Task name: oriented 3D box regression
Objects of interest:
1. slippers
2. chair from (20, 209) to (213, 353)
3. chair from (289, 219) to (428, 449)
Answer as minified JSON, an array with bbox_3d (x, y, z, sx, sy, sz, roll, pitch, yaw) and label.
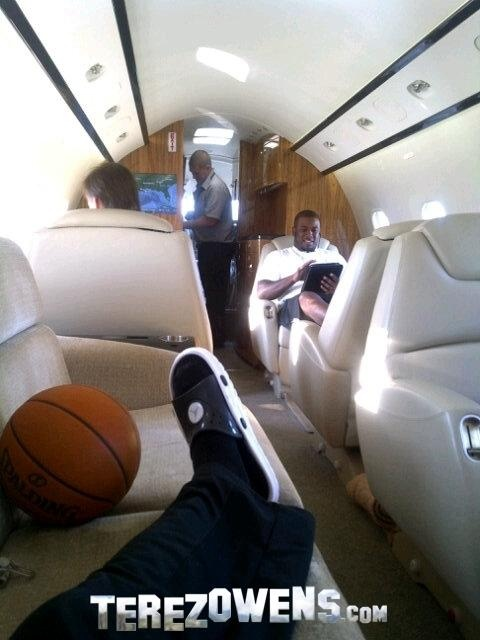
[{"bbox_3d":[-0.047,0.201,0.955,0.125,0.138,0.440,12,46,-49],"label":"slippers"},{"bbox_3d":[-0.507,-0.151,1.839,0.523,0.687,0.603,-2,11,2],"label":"chair"},{"bbox_3d":[0.506,0.077,2.009,0.539,1.073,0.863,-2,8,-16],"label":"chair"}]
